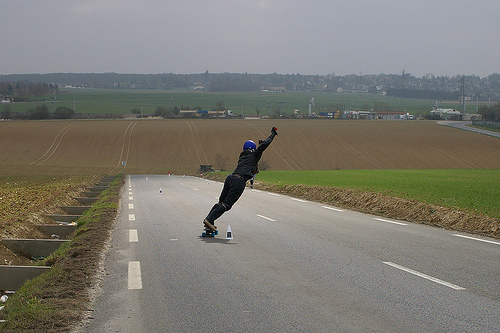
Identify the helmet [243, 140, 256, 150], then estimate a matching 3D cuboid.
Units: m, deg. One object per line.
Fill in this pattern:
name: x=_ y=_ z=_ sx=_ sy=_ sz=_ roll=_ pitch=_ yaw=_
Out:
helmet: x=-0.019 y=-0.740 z=13.201 sx=0.420 sy=0.436 sz=0.340 roll=-8 pitch=26 yaw=-6
